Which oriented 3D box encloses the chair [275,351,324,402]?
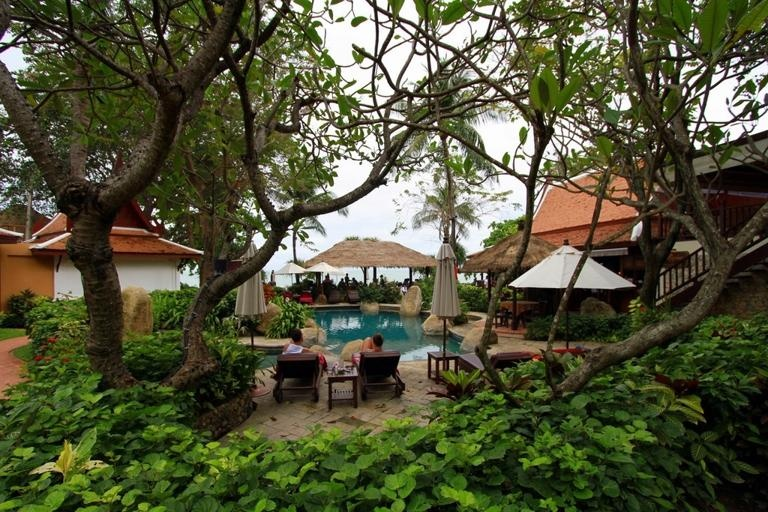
[{"bbox_3d":[-1.695,2.263,9.208,0.891,0.876,0.758,2,-4,-11],"label":"chair"}]

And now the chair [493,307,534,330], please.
[{"bbox_3d":[4.896,2.159,17.218,1.139,0.822,1.673,3,5,43],"label":"chair"}]

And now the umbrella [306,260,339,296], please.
[{"bbox_3d":[-3.580,1.103,26.293,1.907,1.780,1.932,0,-5,1],"label":"umbrella"}]

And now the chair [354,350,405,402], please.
[{"bbox_3d":[-0.143,2.231,9.755,0.925,0.807,1.602,1,2,-12],"label":"chair"}]

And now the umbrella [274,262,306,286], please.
[{"bbox_3d":[-5.196,0.944,26.120,1.675,1.172,1.619,1,-3,-27],"label":"umbrella"}]
